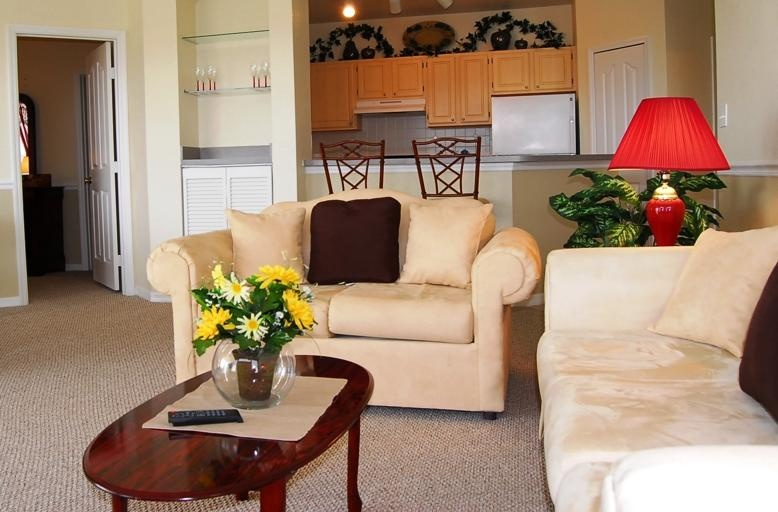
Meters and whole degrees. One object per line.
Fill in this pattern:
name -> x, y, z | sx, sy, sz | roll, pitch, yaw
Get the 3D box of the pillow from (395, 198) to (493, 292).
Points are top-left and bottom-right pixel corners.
pillow -> 0.307, -0.067, 3.220 | 0.513, 0.487, 0.218 | 1, -10, 25

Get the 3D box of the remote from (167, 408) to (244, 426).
remote -> -0.574, 0.502, 1.787 | 0.154, 0.029, 0.084 | -1, -1, -10

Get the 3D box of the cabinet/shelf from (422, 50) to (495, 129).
cabinet/shelf -> 1.087, -2.322, 7.969 | 1.119, 0.999, 0.540 | 9, 19, 35

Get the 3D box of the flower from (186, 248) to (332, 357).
flower -> -0.457, 0.173, 1.947 | 0.407, 0.236, 0.445 | 5, 20, 24

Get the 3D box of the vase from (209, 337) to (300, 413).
vase -> -0.517, 0.436, 2.012 | 0.389, 0.280, 0.389 | -1, -12, -5

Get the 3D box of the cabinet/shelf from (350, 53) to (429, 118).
cabinet/shelf -> 0.086, -2.411, 8.159 | 1.107, 0.750, 0.603 | 1, 9, 10

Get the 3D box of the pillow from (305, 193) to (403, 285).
pillow -> -0.194, -0.080, 3.338 | 0.538, 0.472, 0.180 | -1, -12, 8

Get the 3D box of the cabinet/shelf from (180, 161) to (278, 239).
cabinet/shelf -> -1.357, -0.529, 4.944 | 0.900, 0.785, 0.281 | 0, 1, 4

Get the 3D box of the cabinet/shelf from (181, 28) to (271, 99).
cabinet/shelf -> -1.635, -1.996, 5.913 | 1.061, 0.567, 0.324 | -13, 15, -26

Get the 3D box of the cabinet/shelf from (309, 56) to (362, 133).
cabinet/shelf -> -1.000, -2.313, 8.188 | 0.967, 1.023, 0.592 | -12, 23, -28

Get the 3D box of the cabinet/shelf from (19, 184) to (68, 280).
cabinet/shelf -> -4.472, -0.269, 7.500 | 0.677, 0.927, 0.628 | -9, -5, -7

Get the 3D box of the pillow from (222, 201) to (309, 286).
pillow -> -0.662, -0.064, 3.121 | 0.471, 0.513, 0.201 | -6, -34, -13
